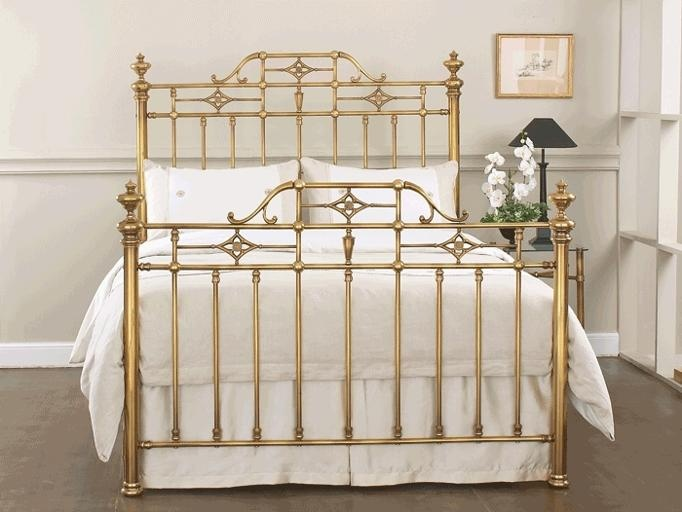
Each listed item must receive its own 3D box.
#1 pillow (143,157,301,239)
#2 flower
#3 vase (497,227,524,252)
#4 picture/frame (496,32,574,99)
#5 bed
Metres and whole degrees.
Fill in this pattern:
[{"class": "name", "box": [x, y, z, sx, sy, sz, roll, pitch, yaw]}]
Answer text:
[{"class": "pillow", "box": [-0.716, -0.340, 6.747, 0.604, 0.472, 0.144, -2, -13, -11]}, {"class": "flower", "box": [0.990, -0.337, 6.960, 0.254, 0.354, 0.257, -18, -18, 31]}, {"class": "vase", "box": [0.974, -0.102, 7.000, 0.157, 0.181, 0.157, 0, 3, 4]}, {"class": "picture/frame", "box": [1.163, -1.161, 7.315, 0.378, 0.321, 0.027, 0, 3, -3]}, {"class": "bed", "box": [-0.063, -0.037, 6.830, 2.156, 1.787, 2.653, 0, 5, -3]}]
